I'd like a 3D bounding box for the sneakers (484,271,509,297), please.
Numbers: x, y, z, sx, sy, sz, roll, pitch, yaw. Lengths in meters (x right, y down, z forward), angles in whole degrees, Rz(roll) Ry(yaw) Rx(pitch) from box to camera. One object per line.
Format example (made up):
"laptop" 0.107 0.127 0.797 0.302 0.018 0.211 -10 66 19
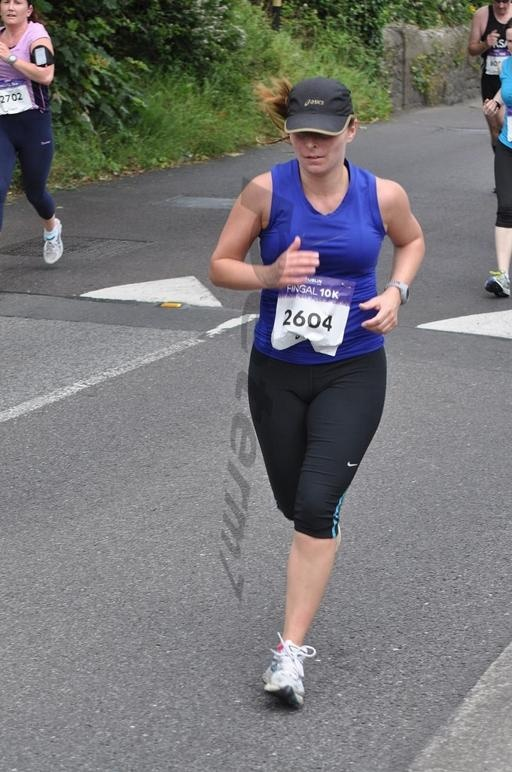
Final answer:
"sneakers" 2.058 -0.864 6.559 0.134 0.143 0.317 16 10 9

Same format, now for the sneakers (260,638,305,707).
"sneakers" 0.067 0.694 1.862 0.105 0.184 0.193 1 15 3

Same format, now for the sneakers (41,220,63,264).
"sneakers" -1.932 -1.346 7.352 0.202 0.431 0.210 1 3 -7

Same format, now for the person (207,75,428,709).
"person" 0.114 0.014 1.955 0.483 1.530 0.758 5 16 15

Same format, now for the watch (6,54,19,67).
"watch" -2.028 -2.704 6.405 0.088 0.072 0.074 -3 10 -8

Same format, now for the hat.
"hat" 0.145 -0.640 1.762 0.146 0.129 0.125 2 15 5
